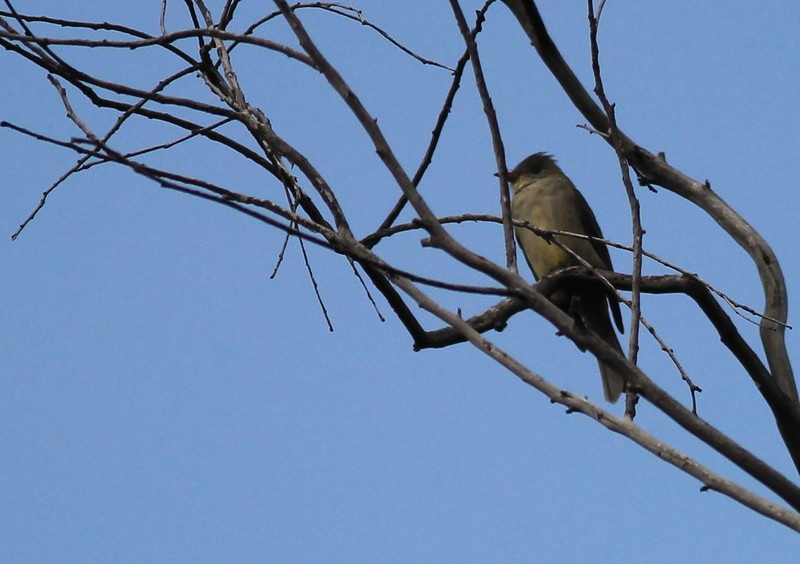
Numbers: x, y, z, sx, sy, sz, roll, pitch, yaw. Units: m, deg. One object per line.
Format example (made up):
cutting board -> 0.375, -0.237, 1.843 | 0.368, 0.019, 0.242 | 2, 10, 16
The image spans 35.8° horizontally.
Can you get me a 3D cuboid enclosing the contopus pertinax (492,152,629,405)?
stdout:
contopus pertinax -> 0.736, -0.016, 5.558 | 0.346, 1.207, 0.502 | -20, -6, 42
